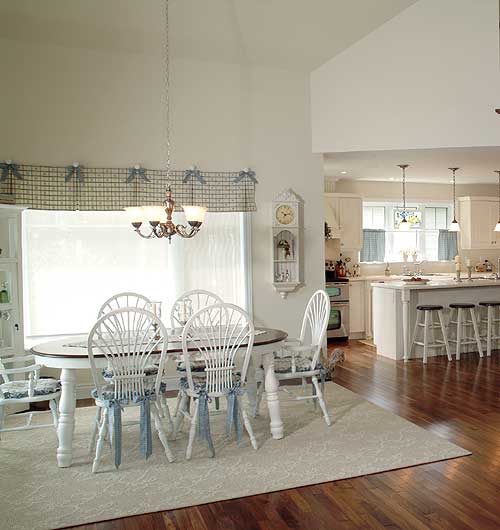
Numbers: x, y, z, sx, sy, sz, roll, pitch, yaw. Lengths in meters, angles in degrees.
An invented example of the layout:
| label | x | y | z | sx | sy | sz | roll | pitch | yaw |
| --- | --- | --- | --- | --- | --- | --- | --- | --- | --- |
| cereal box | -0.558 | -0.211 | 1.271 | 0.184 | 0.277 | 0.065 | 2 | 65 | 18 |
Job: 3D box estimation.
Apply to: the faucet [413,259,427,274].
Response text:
| label | x | y | z | sx | sy | sz | roll | pitch | yaw |
| --- | --- | --- | --- | --- | --- | --- | --- | --- | --- |
| faucet | 2.999 | 0.042 | 8.390 | 0.162 | 0.273 | 0.392 | -1 | 1 | 34 |

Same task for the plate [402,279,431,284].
| label | x | y | z | sx | sy | sz | roll | pitch | yaw |
| --- | --- | --- | --- | --- | --- | --- | --- | --- | --- |
| plate | 2.089 | 0.213 | 5.975 | 0.303 | 0.064 | 0.445 | -1 | 0 | 18 |

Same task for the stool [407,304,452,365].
| label | x | y | z | sx | sy | sz | roll | pitch | yaw |
| --- | --- | --- | --- | --- | --- | --- | --- | --- | --- |
| stool | 2.292 | 0.833 | 5.845 | 0.621 | 0.670 | 0.404 | -2 | 1 | -13 |

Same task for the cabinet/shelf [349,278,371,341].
| label | x | y | z | sx | sy | sz | roll | pitch | yaw |
| --- | --- | --- | --- | --- | --- | --- | --- | --- | --- |
| cabinet/shelf | 1.675 | 0.677 | 7.252 | 0.387 | 0.923 | 0.108 | -2 | 1 | -22 |

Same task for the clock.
| label | x | y | z | sx | sy | sz | roll | pitch | yaw |
| --- | --- | --- | --- | --- | --- | --- | --- | --- | --- |
| clock | 0.415 | -0.232 | 5.172 | 0.371 | 1.190 | 0.256 | -2 | 1 | 4 |

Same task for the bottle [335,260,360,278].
| label | x | y | z | sx | sy | sz | roll | pitch | yaw |
| --- | --- | --- | --- | --- | --- | --- | --- | --- | --- |
| bottle | 1.556 | 0.069 | 7.648 | 0.420 | 0.351 | 0.234 | -2 | 5 | -12 |

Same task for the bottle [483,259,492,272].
| label | x | y | z | sx | sy | sz | roll | pitch | yaw |
| --- | --- | --- | --- | --- | --- | --- | --- | --- | --- |
| bottle | 4.434 | 0.026 | 8.882 | 0.181 | 0.215 | 0.091 | -4 | -21 | -3 |
